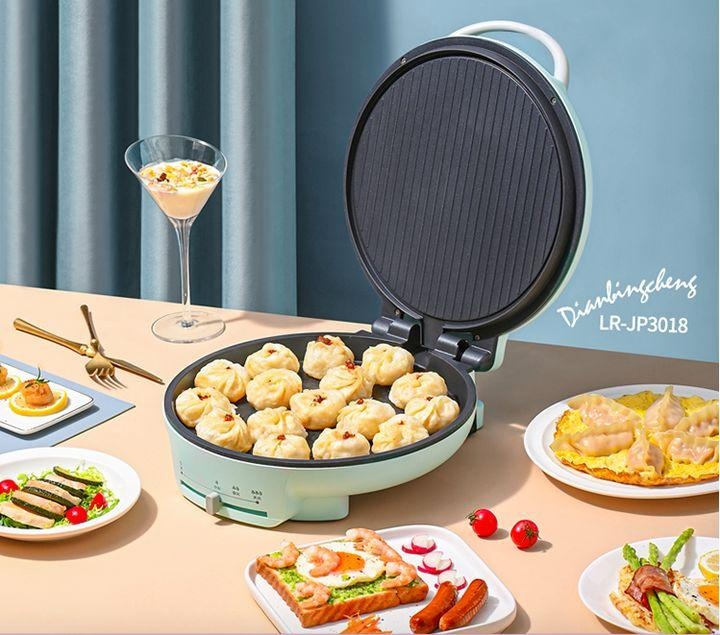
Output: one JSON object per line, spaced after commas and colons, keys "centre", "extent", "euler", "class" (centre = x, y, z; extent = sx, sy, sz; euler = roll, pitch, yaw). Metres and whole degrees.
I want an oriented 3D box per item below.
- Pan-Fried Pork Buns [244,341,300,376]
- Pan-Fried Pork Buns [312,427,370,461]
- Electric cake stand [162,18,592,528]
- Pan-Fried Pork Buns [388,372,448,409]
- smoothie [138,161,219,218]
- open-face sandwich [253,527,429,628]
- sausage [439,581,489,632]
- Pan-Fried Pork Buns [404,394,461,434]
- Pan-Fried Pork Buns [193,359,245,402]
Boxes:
{"centre": [-0.136, 0.051, 1.030], "extent": [0.054, 0.036, 0.056], "euler": [4, 11, 12], "class": "Pan-Fried Pork Buns"}
{"centre": [-0.021, 0.154, 0.826], "extent": [0.042, 0.016, 0.045], "euler": [-10, 22, -30], "class": "Pan-Fried Pork Buns"}
{"centre": [0.013, -0.078, 0.915], "extent": [0.616, 0.538, 0.440], "euler": [-18, 22, -38], "class": "Electric cake stand"}
{"centre": [0.075, 0.097, 0.955], "extent": [0.058, 0.021, 0.060], "euler": [-19, 32, -11], "class": "Pan-Fried Pork Buns"}
{"centre": [-0.355, -0.266, 1.342], "extent": [0.115, 0.058, 0.126], "euler": [4, 29, 3], "class": "smoothie"}
{"centre": [-0.019, 0.261, 0.695], "extent": [0.151, 0.036, 0.118], "euler": [-8, 17, -26], "class": "open-face sandwich"}
{"centre": [0.097, 0.259, 0.645], "extent": [0.024, 0.018, 0.074], "euler": [-3, 20, 32], "class": "sausage"}
{"centre": [0.101, 0.125, 0.902], "extent": [0.053, 0.024, 0.053], "euler": [1, 27, 13], "class": "Pan-Fried Pork Buns"}
{"centre": [-0.200, 0.090, 0.993], "extent": [0.078, 0.031, 0.069], "euler": [-11, 24, -41], "class": "Pan-Fried Pork Buns"}
